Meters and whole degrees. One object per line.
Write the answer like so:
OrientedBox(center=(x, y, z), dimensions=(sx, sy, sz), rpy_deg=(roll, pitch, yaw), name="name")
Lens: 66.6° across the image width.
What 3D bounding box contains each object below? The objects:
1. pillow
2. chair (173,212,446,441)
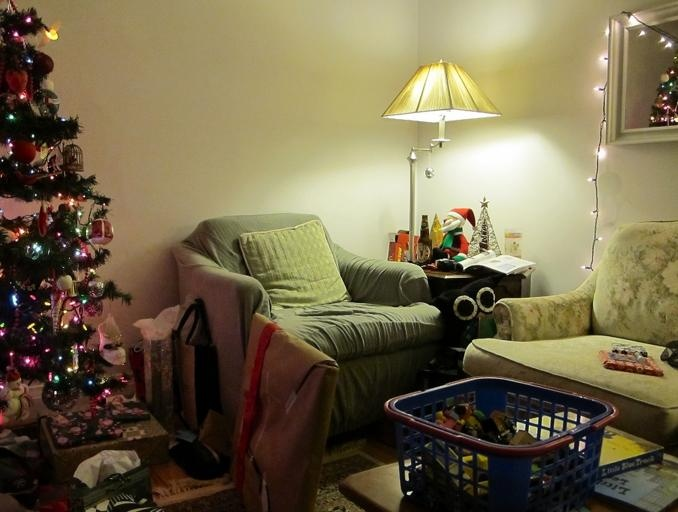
OrientedBox(center=(-0.244, 0.047, 2.928), dimensions=(0.531, 0.495, 0.140), rpy_deg=(-9, -18, -41), name="pillow")
OrientedBox(center=(-0.218, 0.355, 2.834), dimensions=(1.241, 1.065, 1.190), rpy_deg=(-3, 4, -37), name="chair")
